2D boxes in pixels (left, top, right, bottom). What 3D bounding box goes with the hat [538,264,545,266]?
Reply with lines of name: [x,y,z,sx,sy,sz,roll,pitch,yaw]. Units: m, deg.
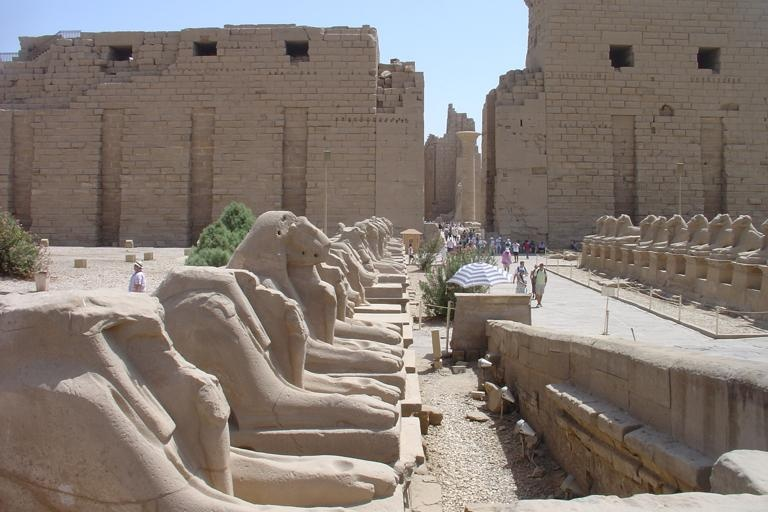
hat: [3.886,0.228,22.084,0.125,0.076,0.173,0,-2,14]
